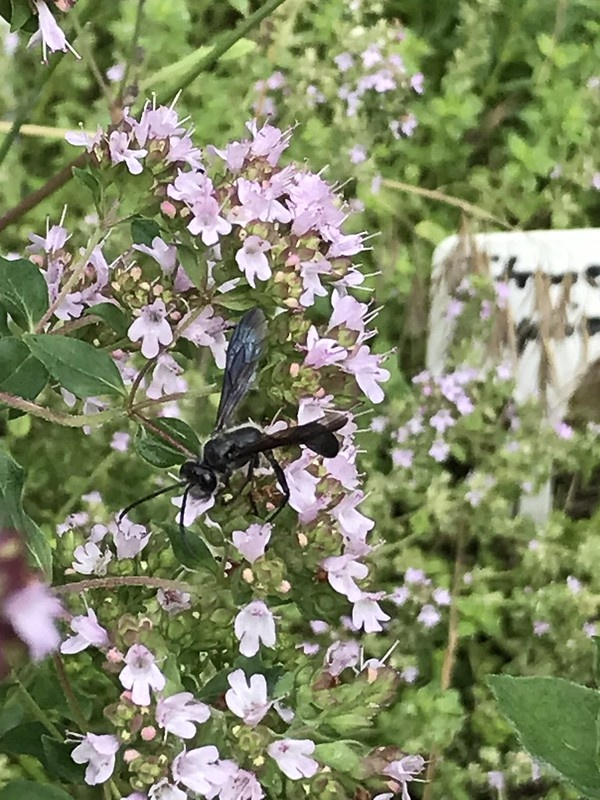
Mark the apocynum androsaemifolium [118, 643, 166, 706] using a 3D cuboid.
[{"bbox_3d":[-0.172,0.300,1.059,0.056,0.023,0.063,-12,38,-16],"label":"apocynum androsaemifolium"}]

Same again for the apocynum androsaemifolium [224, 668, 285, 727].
[{"bbox_3d":[-0.062,0.338,1.099,0.047,0.065,0.071,-12,50,-17],"label":"apocynum androsaemifolium"}]

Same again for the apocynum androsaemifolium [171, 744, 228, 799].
[{"bbox_3d":[-0.107,0.403,1.047,0.053,0.058,0.052,38,54,24],"label":"apocynum androsaemifolium"}]
